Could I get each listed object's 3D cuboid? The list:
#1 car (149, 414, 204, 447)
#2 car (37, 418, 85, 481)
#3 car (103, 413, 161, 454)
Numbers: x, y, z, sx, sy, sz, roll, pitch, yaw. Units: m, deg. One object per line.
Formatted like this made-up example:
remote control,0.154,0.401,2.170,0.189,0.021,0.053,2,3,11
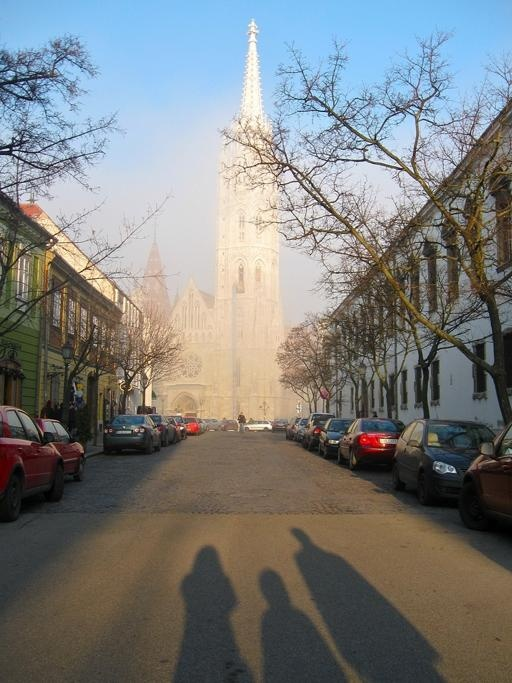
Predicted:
car,-5.621,6.060,38.583,2.139,1.411,4.770,0,-5,5
car,-5.003,2.632,14.165,1.202,1.100,2.016,-1,-6,4
car,-5.818,4.323,26.948,2.334,1.759,2.194,3,-9,-14
